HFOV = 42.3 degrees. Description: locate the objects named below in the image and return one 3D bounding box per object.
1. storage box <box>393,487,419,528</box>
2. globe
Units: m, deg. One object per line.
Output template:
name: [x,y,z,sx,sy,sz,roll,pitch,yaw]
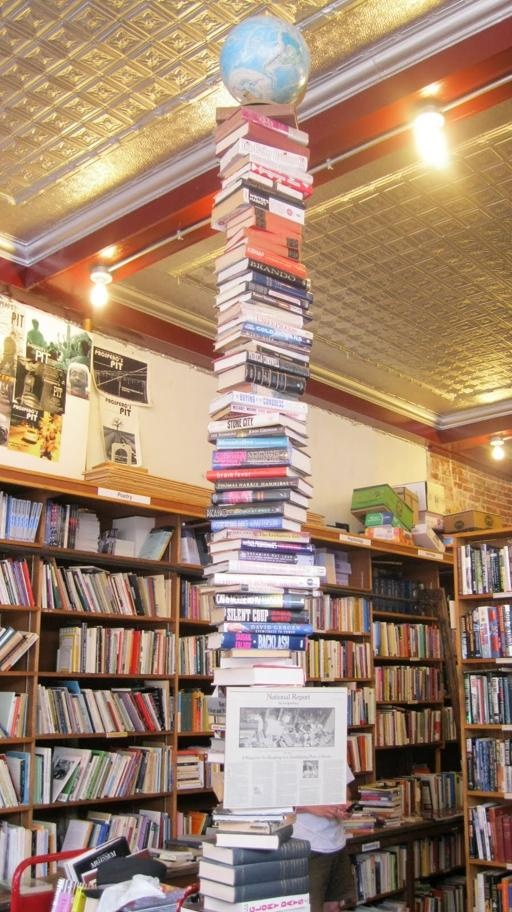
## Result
storage box: [1.346,0.473,5.960,0.147,0.255,0.269,-12,-23,36]
globe: [0.019,-0.984,1.644,0.221,0.257,0.182,4,-14,-6]
